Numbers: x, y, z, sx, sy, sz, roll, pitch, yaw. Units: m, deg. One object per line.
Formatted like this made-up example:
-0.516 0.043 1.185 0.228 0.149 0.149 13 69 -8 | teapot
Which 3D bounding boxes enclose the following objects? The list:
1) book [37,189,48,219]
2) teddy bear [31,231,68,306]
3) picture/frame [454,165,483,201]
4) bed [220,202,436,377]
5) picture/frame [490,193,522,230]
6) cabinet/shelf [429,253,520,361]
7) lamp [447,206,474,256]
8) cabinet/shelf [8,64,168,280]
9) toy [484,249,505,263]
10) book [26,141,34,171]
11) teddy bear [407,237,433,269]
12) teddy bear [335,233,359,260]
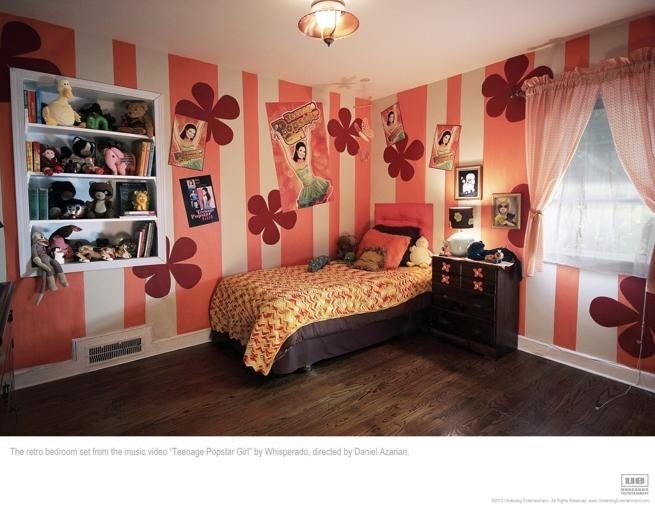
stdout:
-2.412 -0.443 3.676 0.079 0.227 0.221 -1 4 -31 | book
-2.389 0.074 3.757 0.255 0.621 0.197 -16 2 -43 | teddy bear
1.532 -0.788 4.675 0.044 0.435 0.336 -7 11 -40 | picture/frame
-0.001 0.097 4.752 2.501 1.580 1.462 -6 10 -42 | bed
1.810 -0.458 4.369 0.032 0.461 0.318 -7 9 -34 | picture/frame
1.494 0.424 4.466 0.480 0.908 0.749 -6 10 -41 | cabinet/shelf
1.409 -0.247 4.588 0.293 0.519 0.303 2 -3 -9 | lamp
-2.131 -0.713 3.922 1.288 1.727 0.509 -11 18 -37 | cabinet/shelf
1.616 -0.008 4.201 0.166 0.093 0.228 6 16 22 | toy
-2.468 -0.816 3.608 0.065 0.232 0.032 -11 17 -36 | book
1.079 -0.042 5.108 0.324 0.439 0.296 2 -3 25 | teddy bear
0.226 -0.096 5.389 0.306 0.398 0.277 2 -11 -25 | teddy bear
